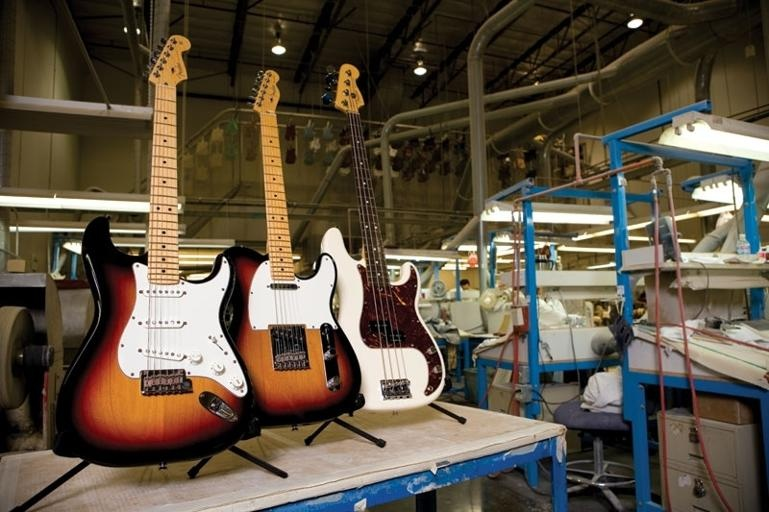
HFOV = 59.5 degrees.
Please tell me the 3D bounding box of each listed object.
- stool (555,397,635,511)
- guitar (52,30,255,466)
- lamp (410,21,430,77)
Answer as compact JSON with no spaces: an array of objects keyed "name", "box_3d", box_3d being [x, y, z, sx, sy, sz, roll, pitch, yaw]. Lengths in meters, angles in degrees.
[{"name":"stool","box_3d":[1.872,1.720,6.031,0.792,1.094,0.846,-2,-6,9]},{"name":"guitar","box_3d":[-1.470,0.136,4.072,1.075,2.170,0.871,-10,14,-36]},{"name":"lamp","box_3d":[0.707,-4.260,13.743,0.321,1.094,0.325,1,-5,-19]}]
